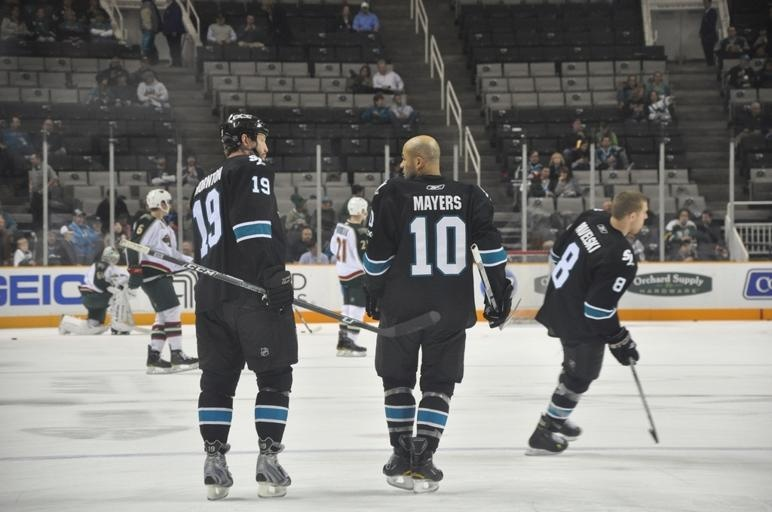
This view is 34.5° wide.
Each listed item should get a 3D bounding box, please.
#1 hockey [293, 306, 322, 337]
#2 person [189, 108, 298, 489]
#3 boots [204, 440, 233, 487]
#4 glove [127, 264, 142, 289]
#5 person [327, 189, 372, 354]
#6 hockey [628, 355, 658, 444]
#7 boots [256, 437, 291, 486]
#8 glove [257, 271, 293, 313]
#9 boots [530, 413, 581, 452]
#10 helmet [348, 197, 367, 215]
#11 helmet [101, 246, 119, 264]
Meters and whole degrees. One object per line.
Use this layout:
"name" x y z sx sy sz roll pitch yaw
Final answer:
"hockey" -1.424 1.206 22.885 0.581 0.545 0.170 -6 -5 19
"person" -1.649 0.818 14.621 1.171 3.987 0.799 -4 4 -8
"boots" -1.942 2.447 14.489 0.331 0.563 0.256 -3 4 -8
"glove" -3.714 0.330 18.685 0.247 0.313 0.124 2 9 24
"person" -0.558 0.363 20.283 0.841 2.446 0.789 0 -2 -4
"hockey" 3.201 1.873 15.598 0.342 1.070 0.303 -1 -1 2
"boots" -1.306 2.430 14.479 0.388 0.603 0.202 -3 4 -4
"glove" -1.228 0.425 14.463 0.392 0.460 0.205 1 5 -19
"boots" 2.033 2.226 15.614 0.691 0.451 0.632 3 0 27
"helmet" -0.444 -0.806 20.090 0.244 0.244 0.335 4 9 15
"helmet" -4.717 0.016 21.372 0.298 0.314 0.408 -4 4 -13
